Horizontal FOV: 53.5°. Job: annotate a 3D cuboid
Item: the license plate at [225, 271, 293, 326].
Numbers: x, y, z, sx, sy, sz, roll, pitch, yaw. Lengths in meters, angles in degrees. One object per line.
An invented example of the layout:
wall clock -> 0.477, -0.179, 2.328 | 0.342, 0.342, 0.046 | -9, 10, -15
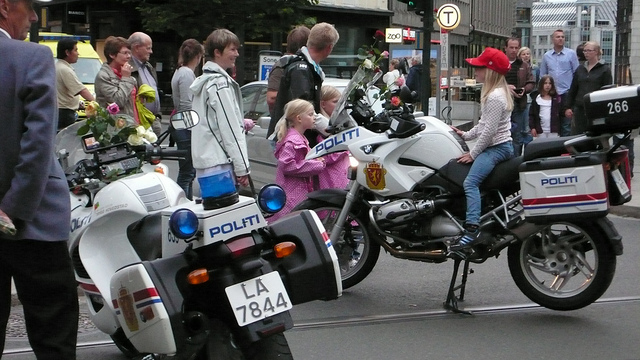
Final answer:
license plate -> -0.539, 0.998, 5.263 | 0.455, 0.300, 0.006 | -16, -15, -14

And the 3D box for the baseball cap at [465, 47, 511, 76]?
baseball cap -> 2.022, -1.439, 7.649 | 0.547, 0.290, 0.325 | 10, 23, 4

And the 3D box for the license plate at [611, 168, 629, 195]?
license plate -> 3.278, 0.027, 6.946 | 0.046, 0.342, 0.195 | -27, 4, 38

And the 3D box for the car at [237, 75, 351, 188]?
car -> -0.918, -0.747, 10.955 | 2.500, 1.154, 1.467 | 11, 14, 39
